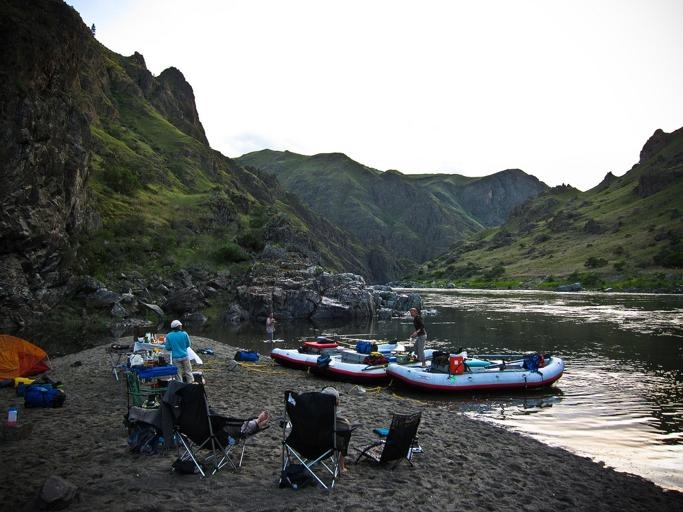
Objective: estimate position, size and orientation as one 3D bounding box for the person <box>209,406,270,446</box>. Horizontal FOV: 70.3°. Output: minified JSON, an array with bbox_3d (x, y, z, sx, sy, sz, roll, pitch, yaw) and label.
[{"bbox_3d":[-3.815,6.180,17.713,2.034,0.755,1.225,3,19,-22],"label":"person"}]
